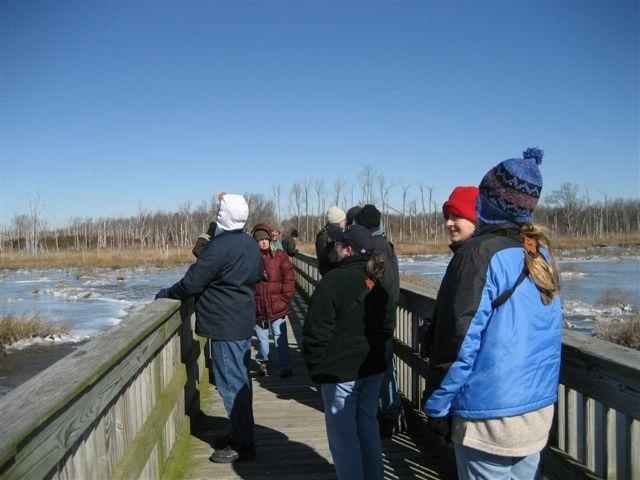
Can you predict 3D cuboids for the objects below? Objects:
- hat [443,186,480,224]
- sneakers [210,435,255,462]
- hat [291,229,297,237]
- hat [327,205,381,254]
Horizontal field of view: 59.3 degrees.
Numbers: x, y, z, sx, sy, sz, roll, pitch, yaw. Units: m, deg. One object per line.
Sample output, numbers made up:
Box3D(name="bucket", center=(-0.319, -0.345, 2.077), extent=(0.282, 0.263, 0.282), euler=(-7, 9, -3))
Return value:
Box3D(name="hat", center=(0.904, -0.241, 3.569), extent=(0.205, 0.192, 0.161), euler=(-13, -22, 40))
Box3D(name="sneakers", center=(-0.705, 1.682, 4.525), extent=(0.318, 0.254, 0.170), euler=(5, -8, -9))
Box3D(name="hat", center=(-0.512, -0.151, 11.033), extent=(0.116, 0.155, 0.144), euler=(0, -13, 25))
Box3D(name="hat", center=(0.248, -0.009, 3.964), extent=(0.278, 0.300, 0.452), euler=(-10, 22, -25))
